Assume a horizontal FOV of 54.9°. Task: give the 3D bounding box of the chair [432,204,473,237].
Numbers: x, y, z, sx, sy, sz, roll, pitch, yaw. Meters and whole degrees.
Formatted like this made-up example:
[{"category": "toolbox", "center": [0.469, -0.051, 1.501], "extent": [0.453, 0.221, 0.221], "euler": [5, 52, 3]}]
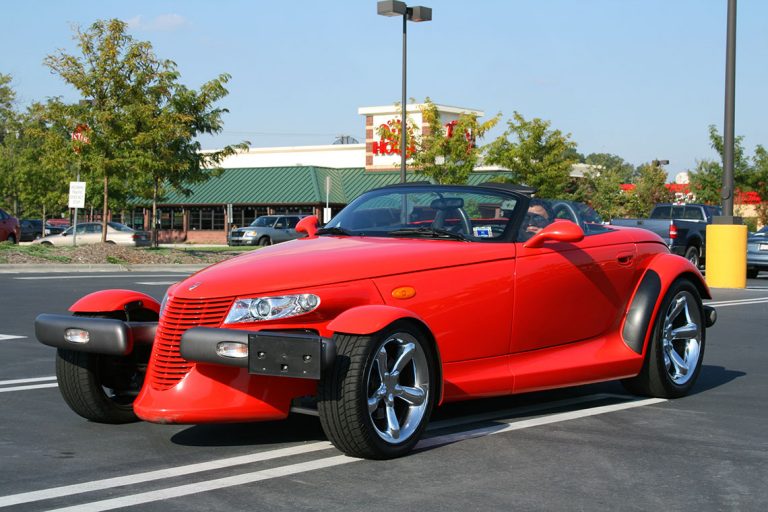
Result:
[{"category": "chair", "center": [0.601, -0.337, 6.427], "extent": [0.361, 0.373, 0.244], "euler": [-1, 1, -25]}]
